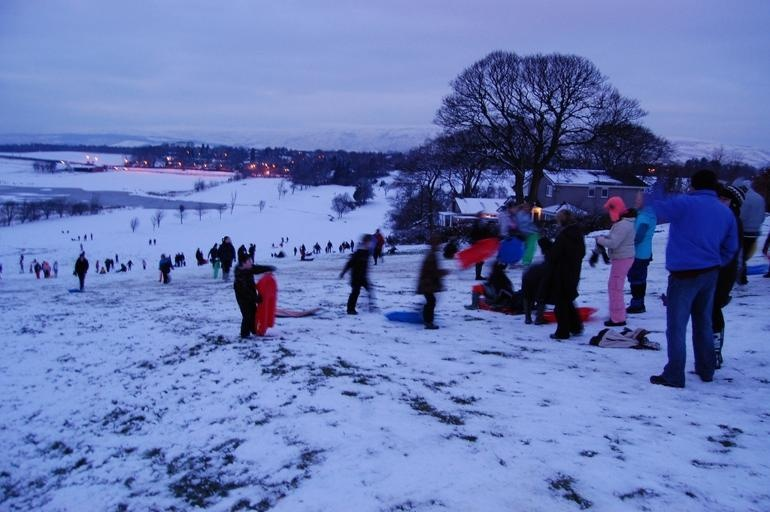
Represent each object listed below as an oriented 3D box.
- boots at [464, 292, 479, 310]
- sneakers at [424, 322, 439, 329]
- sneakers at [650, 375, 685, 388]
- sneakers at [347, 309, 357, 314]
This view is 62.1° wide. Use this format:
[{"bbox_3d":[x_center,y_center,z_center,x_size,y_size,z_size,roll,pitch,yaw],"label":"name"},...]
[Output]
[{"bbox_3d":[2.409,1.208,17.238,0.414,0.431,0.373,-4,6,-37],"label":"boots"},{"bbox_3d":[1.112,1.613,15.008,0.325,0.243,0.141,-3,7,-1],"label":"sneakers"},{"bbox_3d":[5.033,2.207,11.347,0.196,0.218,0.483,-2,-3,-35],"label":"sneakers"},{"bbox_3d":[-0.834,1.420,16.728,0.278,0.184,0.287,0,6,-3],"label":"sneakers"}]
